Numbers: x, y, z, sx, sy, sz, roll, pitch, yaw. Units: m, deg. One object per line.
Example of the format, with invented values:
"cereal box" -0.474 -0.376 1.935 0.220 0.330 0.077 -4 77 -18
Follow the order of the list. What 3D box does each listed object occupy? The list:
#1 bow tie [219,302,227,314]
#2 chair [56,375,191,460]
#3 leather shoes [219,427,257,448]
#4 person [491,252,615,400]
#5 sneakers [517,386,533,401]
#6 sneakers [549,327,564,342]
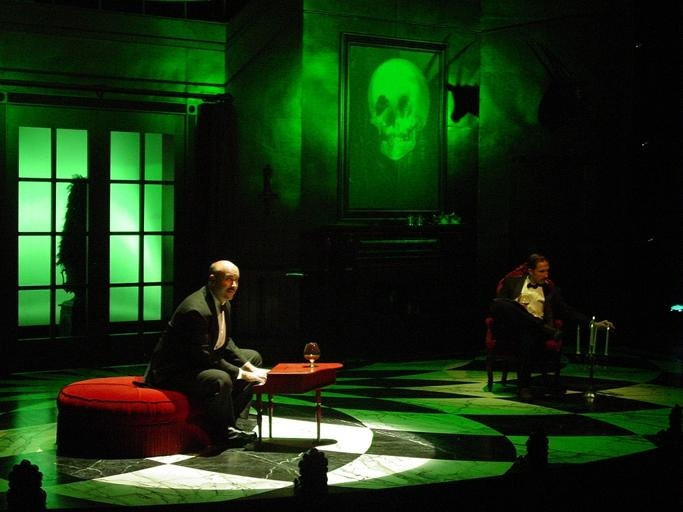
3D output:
"bow tie" -0.875 0.376 4.852 0.054 0.059 0.068 -4 -10 31
"chair" -1.481 1.118 4.491 0.954 0.423 0.357 1 3 10
"leather shoes" -0.732 1.286 4.697 0.285 0.101 0.088 -4 5 -33
"person" 1.813 0.625 6.164 0.670 1.256 0.610 -2 4 -33
"sneakers" 1.663 1.234 5.948 0.130 0.090 0.201 1 3 14
"sneakers" 1.937 0.723 5.985 0.146 0.117 0.110 2 -1 12
